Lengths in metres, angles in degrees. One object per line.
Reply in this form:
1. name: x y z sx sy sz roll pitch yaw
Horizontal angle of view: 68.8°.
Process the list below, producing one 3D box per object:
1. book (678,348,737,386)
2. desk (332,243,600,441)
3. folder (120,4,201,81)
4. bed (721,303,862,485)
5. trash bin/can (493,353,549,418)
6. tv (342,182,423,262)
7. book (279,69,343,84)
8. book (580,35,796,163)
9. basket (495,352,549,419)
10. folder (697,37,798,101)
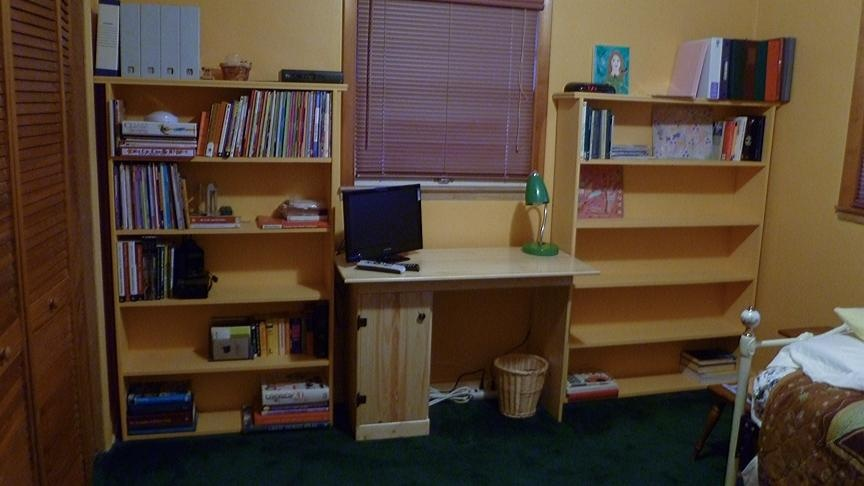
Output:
1. book: 2.313 1.018 5.214 0.376 0.165 0.265 -1 5 -12
2. desk: 0.167 0.731 4.827 1.806 1.152 1.000 -4 11 -27
3. folder: -1.809 -1.320 4.143 0.559 0.485 0.271 0 4 -7
4. bed: 2.210 0.939 3.843 1.314 1.232 0.166 -2 11 -10
5. trash bin/can: 0.642 1.059 4.910 0.458 0.373 0.456 -1 7 -9
6. tv: -0.353 -0.137 4.562 0.670 0.533 0.149 -10 17 -37
7. book: -0.840 -1.147 4.357 0.418 0.103 0.199 -5 18 -11
8. book: 1.952 -1.134 4.875 1.124 0.633 0.309 0 7 -4
9. basket: 0.664 1.108 4.896 0.436 0.367 0.423 0 10 -12
10. folder: 2.411 -1.260 4.898 0.605 0.353 0.582 1 7 -3
